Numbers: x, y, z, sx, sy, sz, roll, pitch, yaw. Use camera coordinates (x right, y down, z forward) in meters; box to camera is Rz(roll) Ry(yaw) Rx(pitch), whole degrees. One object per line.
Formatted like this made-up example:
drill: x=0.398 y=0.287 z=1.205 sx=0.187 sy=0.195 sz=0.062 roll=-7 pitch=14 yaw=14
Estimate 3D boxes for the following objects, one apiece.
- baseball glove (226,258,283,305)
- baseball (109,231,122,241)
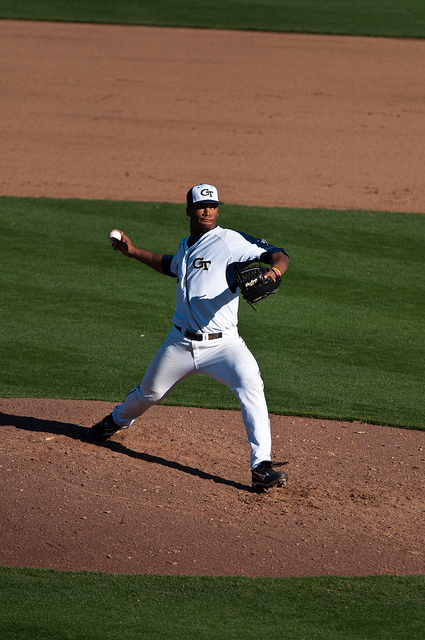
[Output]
baseball glove: x=0.312 y=-0.269 z=8.641 sx=0.436 sy=0.197 sz=0.336 roll=-29 pitch=0 yaw=9
baseball: x=-0.754 y=-0.661 z=9.194 sx=0.081 sy=0.074 sz=0.078 roll=25 pitch=37 yaw=37
